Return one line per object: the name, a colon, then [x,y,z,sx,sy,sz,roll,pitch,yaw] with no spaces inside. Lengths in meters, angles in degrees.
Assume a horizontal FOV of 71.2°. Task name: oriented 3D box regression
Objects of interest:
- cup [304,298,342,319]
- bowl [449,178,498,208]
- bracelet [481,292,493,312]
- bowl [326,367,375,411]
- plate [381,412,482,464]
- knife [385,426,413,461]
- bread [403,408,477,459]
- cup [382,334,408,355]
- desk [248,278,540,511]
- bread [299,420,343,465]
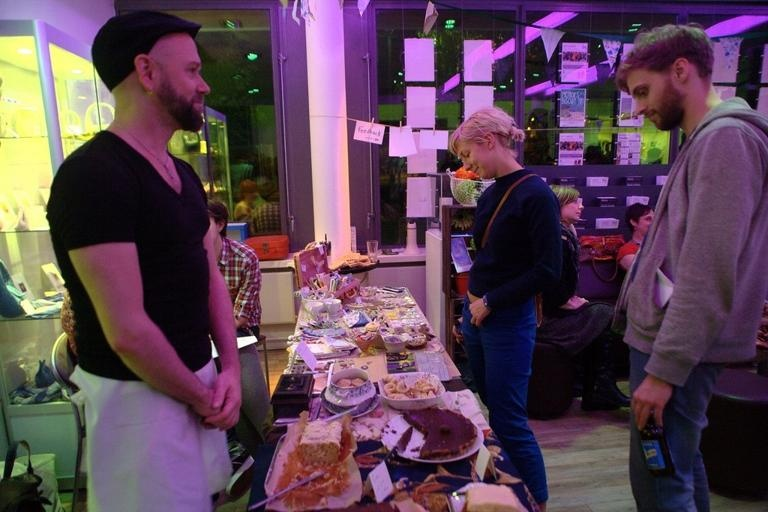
cup: [-0.415,0.321,3.343,0.178,0.080,0.131,4,6,35]
bowl: [0.649,-0.457,3.976,0.270,0.166,0.261,0,6,0]
bracelet: [0.510,0.232,2.694,0.050,0.075,0.072,-13,-15,-2]
bowl: [-0.155,0.607,2.455,0.213,0.104,0.214,0,20,0]
plate: [0.185,0.740,2.183,0.255,0.048,0.203,2,14,-6]
knife: [0.056,0.760,2.179,0.046,0.026,0.192,17,24,21]
bread: [0.239,0.727,2.213,0.173,0.038,0.198,0,9,-14]
cup: [0.046,0.475,2.903,0.100,0.066,0.086,-2,-1,23]
desk: [0.091,0.841,2.489,1.074,0.657,1.147,-3,8,9]
bread: [-0.262,0.738,2.145,0.144,0.082,0.169,1,7,2]
